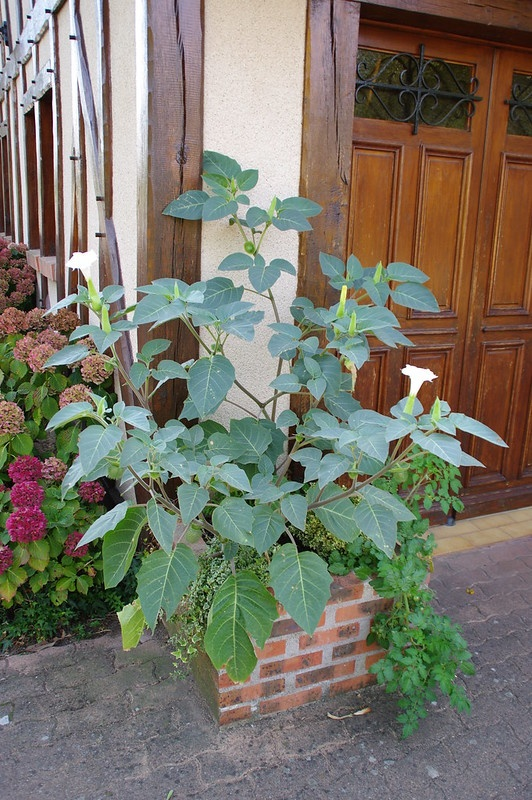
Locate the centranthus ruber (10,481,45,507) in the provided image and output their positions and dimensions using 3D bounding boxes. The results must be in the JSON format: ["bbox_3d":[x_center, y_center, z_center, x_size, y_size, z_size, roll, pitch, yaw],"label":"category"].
[{"bbox_3d":[-0.993,0.391,2.433,0.115,0.111,0.112,18,-23,-41],"label":"centranthus ruber"}]

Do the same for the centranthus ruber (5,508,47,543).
[{"bbox_3d":[-0.968,0.502,2.409,0.151,0.146,0.146,-8,62,-36],"label":"centranthus ruber"}]

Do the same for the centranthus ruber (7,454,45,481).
[{"bbox_3d":[-1.039,0.301,2.529,0.120,0.116,0.118,-17,-2,-21],"label":"centranthus ruber"}]

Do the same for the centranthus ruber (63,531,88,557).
[{"bbox_3d":[-0.824,0.633,2.523,0.090,0.111,0.086,-4,14,-20],"label":"centranthus ruber"}]

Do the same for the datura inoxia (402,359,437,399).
[{"bbox_3d":[0.677,-0.100,2.590,0.171,0.160,0.170,21,-2,11],"label":"datura inoxia"}]

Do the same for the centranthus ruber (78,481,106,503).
[{"bbox_3d":[-0.794,0.421,2.672,0.085,0.095,0.102,6,14,21],"label":"centranthus ruber"}]

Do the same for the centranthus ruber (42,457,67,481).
[{"bbox_3d":[-0.950,0.313,2.641,0.109,0.087,0.106,2,40,-11],"label":"centranthus ruber"}]
